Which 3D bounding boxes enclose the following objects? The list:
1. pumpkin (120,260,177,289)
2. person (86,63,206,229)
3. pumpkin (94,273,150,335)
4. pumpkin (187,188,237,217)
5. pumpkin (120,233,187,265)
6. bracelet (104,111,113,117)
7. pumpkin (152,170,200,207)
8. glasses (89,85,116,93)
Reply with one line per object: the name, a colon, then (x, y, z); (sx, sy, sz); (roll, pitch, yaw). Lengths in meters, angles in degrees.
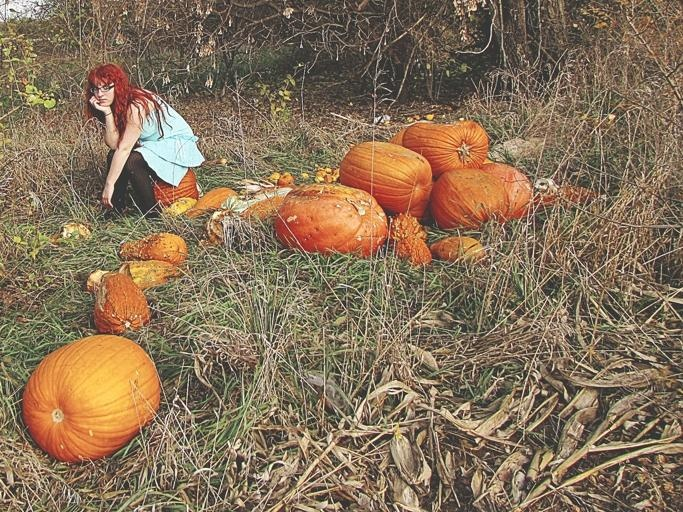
pumpkin: (-1.359, 0.106, 4.626); (0.326, 0.131, 0.173); (-7, 60, -32)
person: (-1.754, -0.966, 5.787); (0.907, 1.350, 0.656); (-5, 22, -21)
pumpkin: (-1.482, 0.271, 4.411); (0.366, 0.366, 0.496); (-2, 52, -18)
pumpkin: (-1.098, -0.457, 5.445); (0.405, 0.179, 0.313); (-11, 29, -15)
pumpkin: (-1.393, -0.064, 4.846); (0.414, 0.240, 0.234); (-1, 2, -9)
bracelet: (-1.945, -1.190, 5.444); (0.040, 0.042, 0.041); (4, 8, 29)
pumpkin: (-1.471, -0.580, 5.768); (0.343, 0.352, 0.341); (1, -3, -31)
glasses: (-1.992, -1.377, 5.380); (0.238, 0.086, 0.047); (1, 27, 7)
